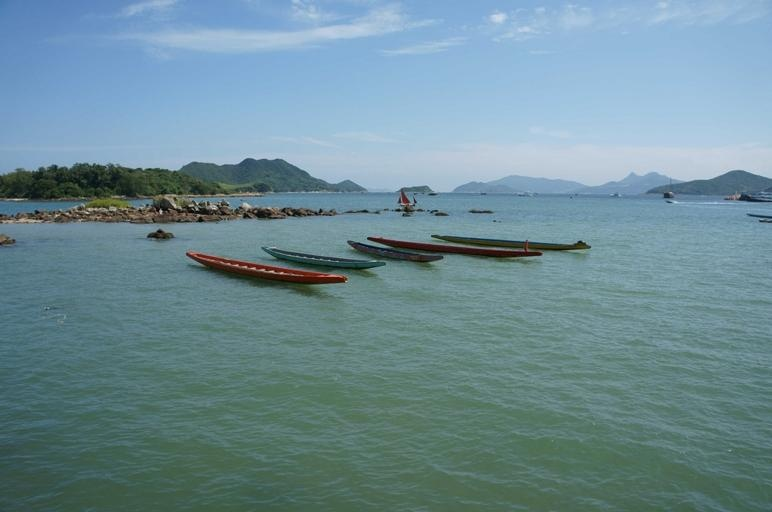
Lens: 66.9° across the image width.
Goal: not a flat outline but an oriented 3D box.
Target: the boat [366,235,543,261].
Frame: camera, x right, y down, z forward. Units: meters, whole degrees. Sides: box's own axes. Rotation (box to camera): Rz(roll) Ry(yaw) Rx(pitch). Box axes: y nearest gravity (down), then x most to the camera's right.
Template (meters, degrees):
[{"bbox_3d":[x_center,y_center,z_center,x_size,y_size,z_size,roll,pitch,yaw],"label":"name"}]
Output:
[{"bbox_3d":[4.630,-1.366,61.390,35.554,1.491,4.112,1,-4,27],"label":"boat"}]

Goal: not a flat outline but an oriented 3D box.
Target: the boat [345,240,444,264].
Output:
[{"bbox_3d":[0.782,-0.204,56.410,2.884,1.006,15.010,-3,4,-43],"label":"boat"}]
